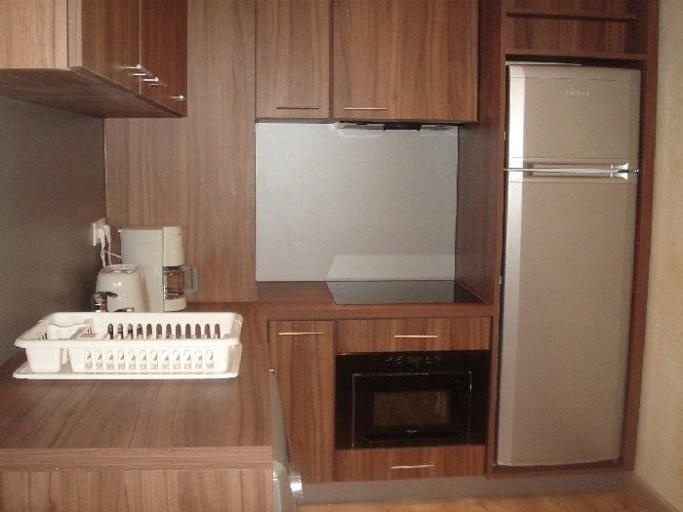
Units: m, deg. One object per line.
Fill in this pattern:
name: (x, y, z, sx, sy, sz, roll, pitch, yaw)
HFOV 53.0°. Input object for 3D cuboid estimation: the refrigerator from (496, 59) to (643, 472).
refrigerator: (0.935, 0.002, 3.315, 0.613, 1.734, 0.674, 0, 4, -5)

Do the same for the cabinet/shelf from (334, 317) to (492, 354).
cabinet/shelf: (0.344, 0.346, 3.145, 0.325, 0.078, 0.297, 0, -1, -4)

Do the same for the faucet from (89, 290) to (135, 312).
faucet: (-0.880, 0.171, 2.634, 0.141, 0.100, 0.108, 14, 9, -24)

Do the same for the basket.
basket: (-0.684, 0.289, 2.268, 0.573, 0.131, 0.313, 1, 6, -6)

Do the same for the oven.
oven: (0.287, 0.604, 3.291, 0.727, 0.433, 0.596, 3, 6, -6)

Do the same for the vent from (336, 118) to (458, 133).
vent: (0.234, -0.644, 3.356, 0.300, 0.044, 0.158, 1, 9, -3)

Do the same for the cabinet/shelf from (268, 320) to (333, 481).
cabinet/shelf: (-0.164, 0.642, 3.044, 0.281, 0.708, 0.236, -3, -11, -4)

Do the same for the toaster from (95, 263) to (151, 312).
toaster: (-0.862, 0.118, 2.738, 0.211, 0.217, 0.159, -1, 9, -8)

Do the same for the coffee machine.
coffee machine: (-0.792, 0.030, 3.179, 0.457, 0.492, 0.279, -3, 13, -16)
